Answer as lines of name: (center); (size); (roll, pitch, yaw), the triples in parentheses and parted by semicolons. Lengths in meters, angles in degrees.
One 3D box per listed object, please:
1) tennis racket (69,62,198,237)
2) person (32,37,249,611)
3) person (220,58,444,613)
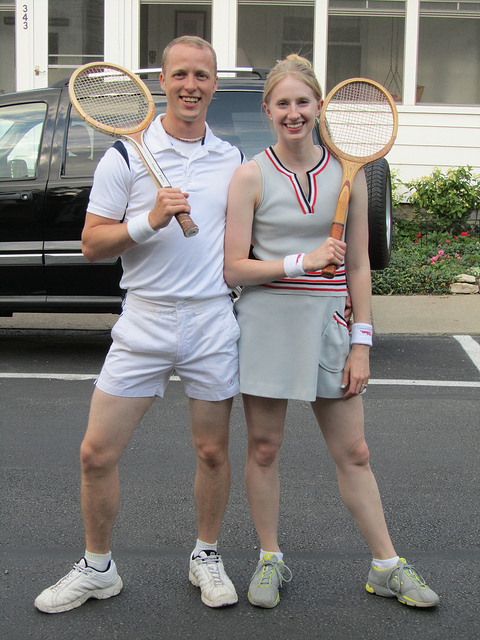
tennis racket: (-0.411, -0.698, 2.074); (0.318, 0.071, 0.974); (-10, 51, -30)
person: (-0.300, 0.032, 2.027); (0.629, 1.899, 0.708); (1, 6, -4)
person: (0.246, 0.072, 1.952); (0.523, 1.800, 0.455); (-2, 6, -29)
